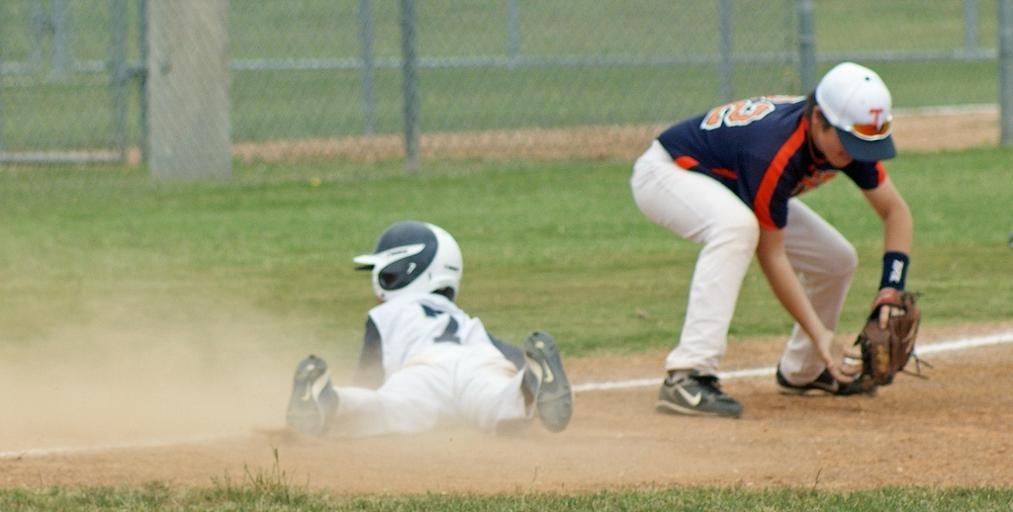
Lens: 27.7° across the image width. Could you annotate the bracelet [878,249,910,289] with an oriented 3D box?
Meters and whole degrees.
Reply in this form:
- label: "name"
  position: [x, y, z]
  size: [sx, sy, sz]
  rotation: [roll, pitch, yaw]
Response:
- label: "bracelet"
  position: [3.589, 0.150, 19.737]
  size: [0.293, 0.352, 0.250]
  rotation: [4, 0, -25]
